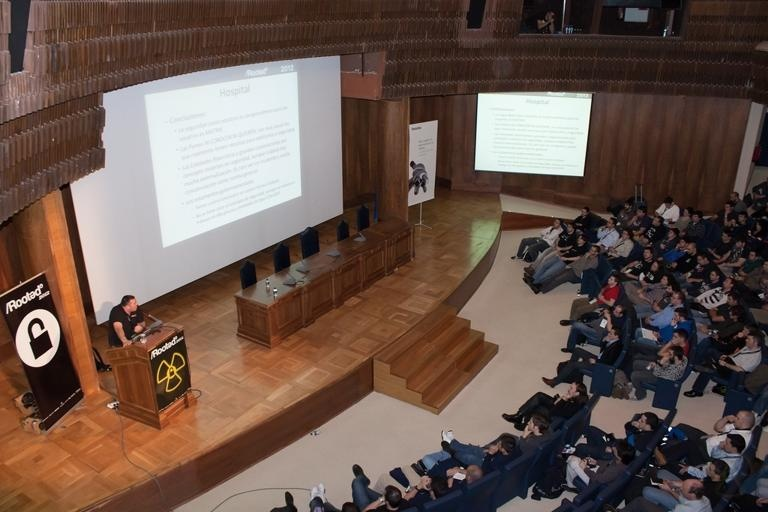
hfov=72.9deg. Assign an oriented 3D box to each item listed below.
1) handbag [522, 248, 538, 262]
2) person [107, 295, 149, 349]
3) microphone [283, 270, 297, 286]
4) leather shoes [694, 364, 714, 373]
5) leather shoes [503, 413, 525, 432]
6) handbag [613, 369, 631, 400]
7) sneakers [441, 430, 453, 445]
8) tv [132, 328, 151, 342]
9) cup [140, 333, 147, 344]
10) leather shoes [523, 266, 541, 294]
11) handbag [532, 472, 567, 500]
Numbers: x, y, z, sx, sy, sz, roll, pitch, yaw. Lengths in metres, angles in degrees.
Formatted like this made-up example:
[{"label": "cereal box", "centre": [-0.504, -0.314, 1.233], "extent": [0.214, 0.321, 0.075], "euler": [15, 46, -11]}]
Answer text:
[{"label": "handbag", "centre": [3.577, -0.015, 12.838], "extent": [0.214, 0.361, 0.371], "euler": [-1, 37, -2]}, {"label": "person", "centre": [-3.822, 0.982, 7.745], "extent": [0.493, 0.762, 0.830], "euler": [-1, 24, -25]}, {"label": "microphone", "centre": [-1.700, 0.400, 9.425], "extent": [0.189, 0.052, 0.213], "euler": [-5, 36, -1]}, {"label": "leather shoes", "centre": [5.590, 1.951, 9.122], "extent": [0.223, 0.089, 0.153], "euler": [5, 3, 20]}, {"label": "leather shoes", "centre": [2.098, 2.632, 8.460], "extent": [0.133, 0.183, 0.403], "euler": [-29, 50, -35]}, {"label": "handbag", "centre": [4.075, 2.194, 8.921], "extent": [0.332, 0.488, 0.186], "euler": [-1, -21, 7]}, {"label": "sneakers", "centre": [0.950, 2.728, 8.006], "extent": [0.094, 0.137, 0.302], "euler": [-4, 21, -8]}, {"label": "tv", "centre": [-3.448, 1.110, 7.451], "extent": [0.202, 0.087, 0.281], "euler": [8, 7, -6]}, {"label": "cup", "centre": [-3.390, 1.158, 7.340], "extent": [0.102, 0.118, 0.106], "euler": [7, 31, -4]}, {"label": "leather shoes", "centre": [3.417, 0.499, 11.979], "extent": [0.199, 0.266, 0.627], "euler": [-14, 38, -8]}, {"label": "handbag", "centre": [2.337, 3.304, 7.475], "extent": [0.455, 0.216, 0.266], "euler": [-12, 40, -8]}]
